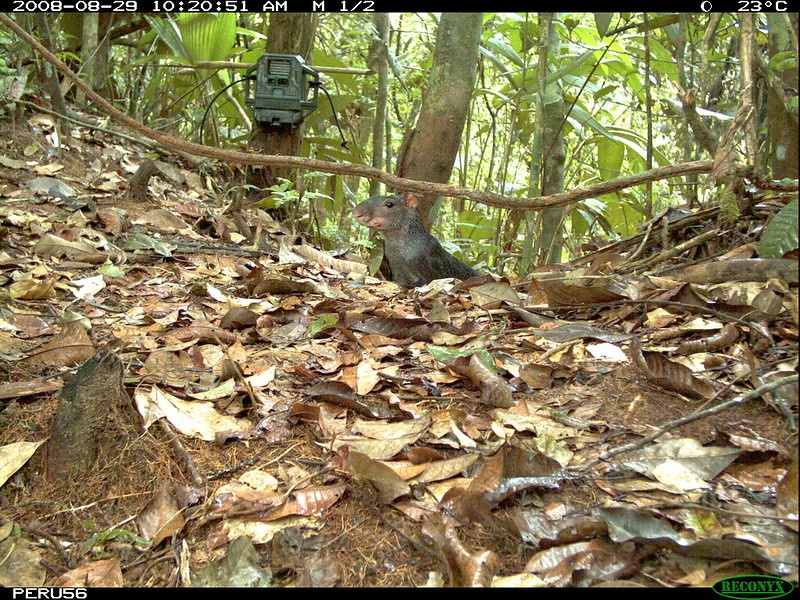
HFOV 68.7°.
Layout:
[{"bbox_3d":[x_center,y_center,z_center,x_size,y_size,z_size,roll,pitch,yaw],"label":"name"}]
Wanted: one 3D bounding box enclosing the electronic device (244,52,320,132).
[{"bbox_3d":[-0.943,-1.707,4.849,0.721,0.532,0.345,14,26,20],"label":"electronic device"}]
